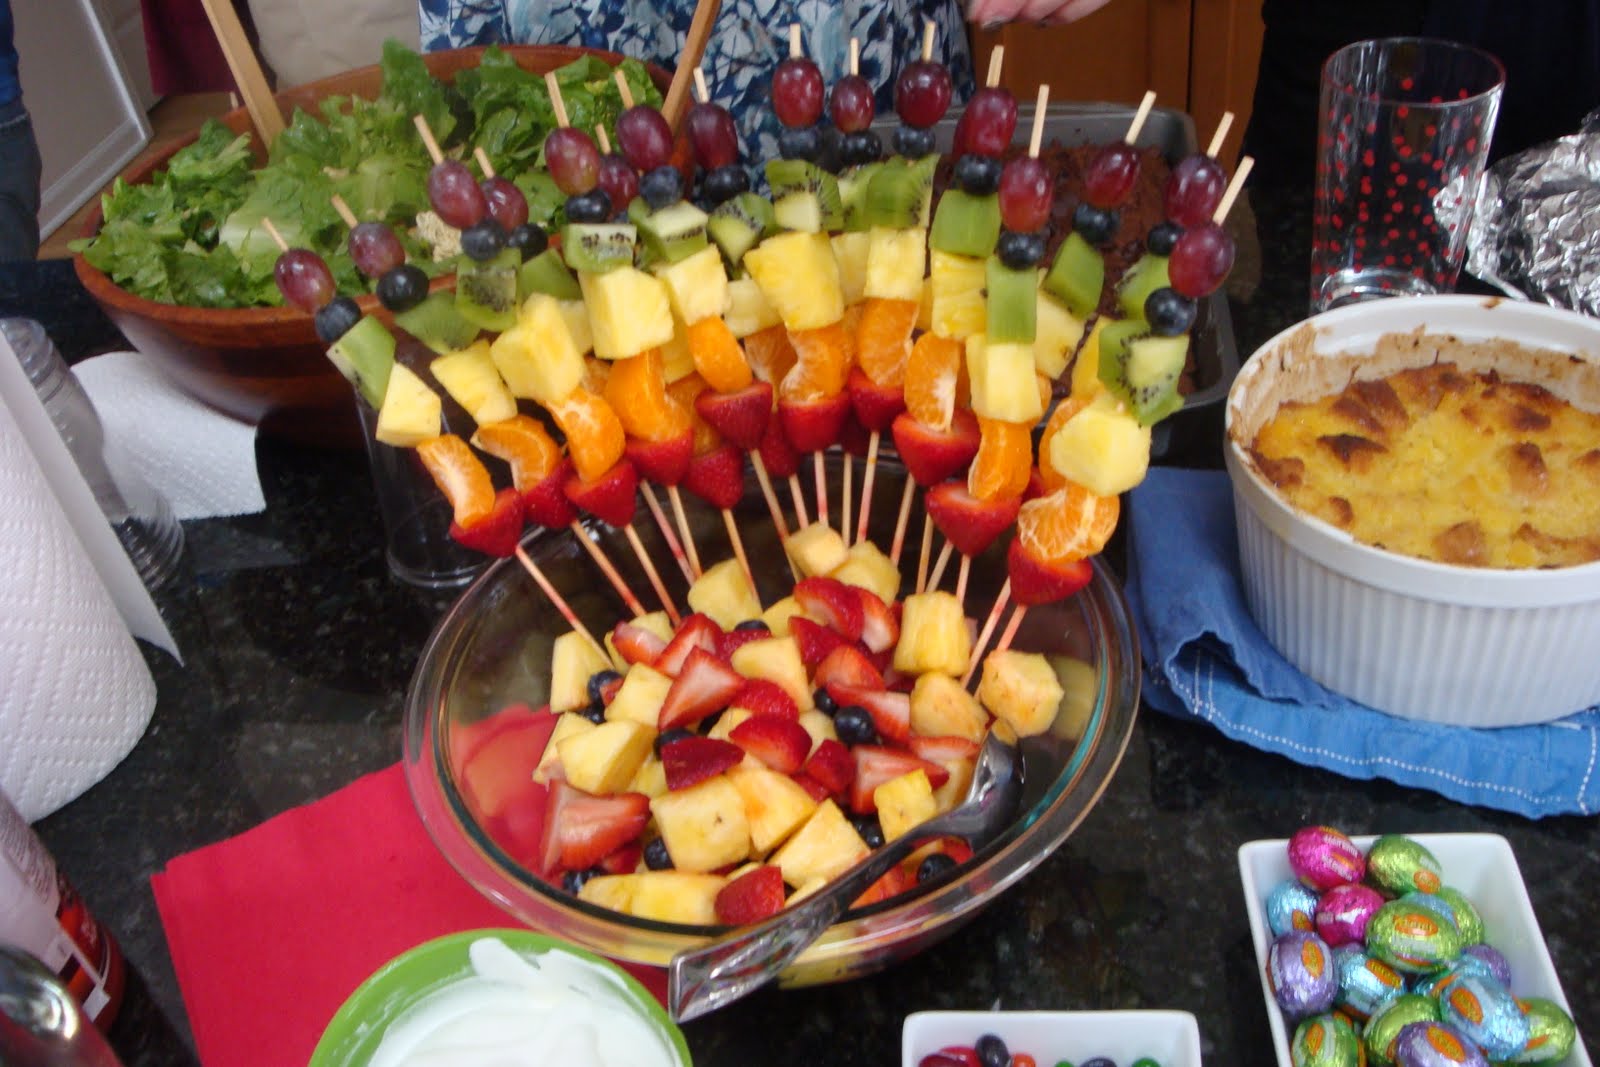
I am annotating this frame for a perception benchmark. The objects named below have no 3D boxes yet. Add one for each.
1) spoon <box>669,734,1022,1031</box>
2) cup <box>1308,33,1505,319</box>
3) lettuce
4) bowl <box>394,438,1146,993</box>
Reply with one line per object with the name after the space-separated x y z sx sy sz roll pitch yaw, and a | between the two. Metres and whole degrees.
0.074 0.389 1.416 0.523 0.122 0.072 -33 52 -23 | spoon
0.996 -0.589 2.078 0.281 0.344 0.346 7 48 12 | cup
-0.816 -0.626 2.012 0.617 0.165 0.667 -10 29 -1 | lettuce
-0.101 0.166 1.585 0.837 0.600 0.669 -22 30 -32 | bowl
